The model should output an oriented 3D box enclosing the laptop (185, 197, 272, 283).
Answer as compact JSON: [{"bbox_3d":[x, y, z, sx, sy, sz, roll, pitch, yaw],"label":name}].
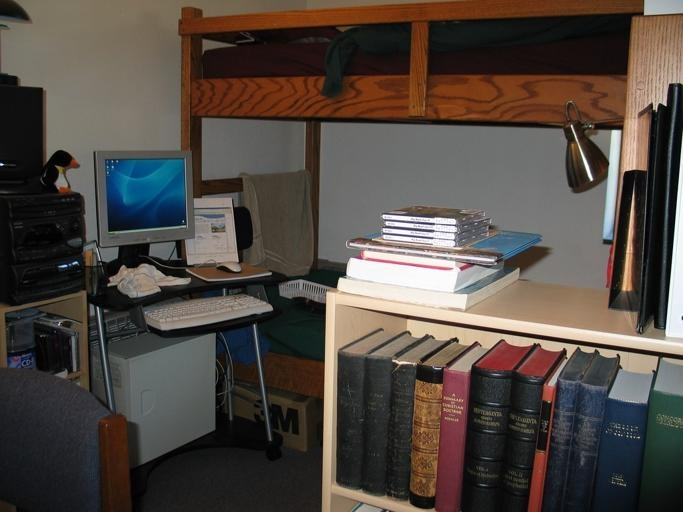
[{"bbox_3d":[-0.567,-0.084,2.732,0.476,0.352,0.339,21,19,39],"label":"laptop"}]

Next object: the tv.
[{"bbox_3d":[-0.901,-0.207,2.545,0.290,0.597,0.478,14,17,39],"label":"tv"}]

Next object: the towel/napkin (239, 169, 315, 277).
[{"bbox_3d":[-0.426,-0.205,3.550,0.137,0.736,0.685,5,7,33],"label":"towel/napkin"}]

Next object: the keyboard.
[{"bbox_3d":[-0.575,0.231,2.368,0.518,0.058,0.276,-9,12,-41],"label":"keyboard"}]

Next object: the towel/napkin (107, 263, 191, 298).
[{"bbox_3d":[-0.852,0.099,2.348,0.211,0.065,0.183,13,14,35],"label":"towel/napkin"}]
